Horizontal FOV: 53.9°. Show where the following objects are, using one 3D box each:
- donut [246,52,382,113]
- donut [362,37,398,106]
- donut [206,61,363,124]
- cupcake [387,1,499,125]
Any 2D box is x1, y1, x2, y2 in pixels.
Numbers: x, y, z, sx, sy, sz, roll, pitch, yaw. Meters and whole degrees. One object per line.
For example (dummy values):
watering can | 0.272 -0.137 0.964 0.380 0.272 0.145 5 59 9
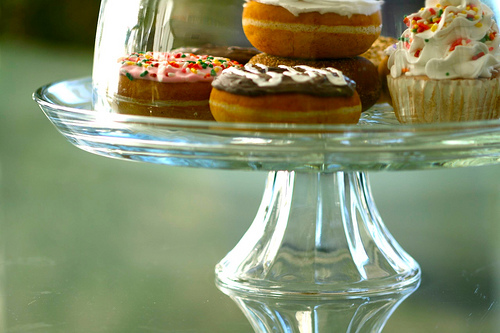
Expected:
donut | 0.086 -0.127 0.800 0.244 0.093 0.244 -4 6 -17
donut | 0.201 -0.154 0.799 0.080 0.100 0.055 -3 -11 9
donut | 0.046 -0.087 0.619 0.189 0.072 0.096 0 21 -9
cupcake | 0.282 -0.151 0.714 0.160 0.172 0.107 8 22 12
